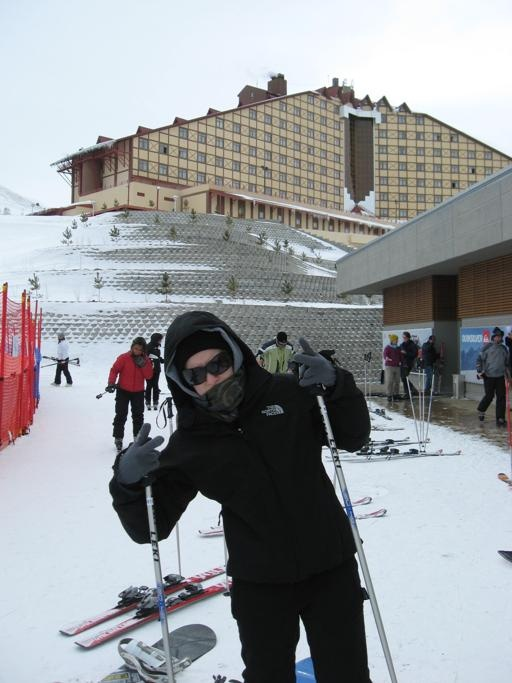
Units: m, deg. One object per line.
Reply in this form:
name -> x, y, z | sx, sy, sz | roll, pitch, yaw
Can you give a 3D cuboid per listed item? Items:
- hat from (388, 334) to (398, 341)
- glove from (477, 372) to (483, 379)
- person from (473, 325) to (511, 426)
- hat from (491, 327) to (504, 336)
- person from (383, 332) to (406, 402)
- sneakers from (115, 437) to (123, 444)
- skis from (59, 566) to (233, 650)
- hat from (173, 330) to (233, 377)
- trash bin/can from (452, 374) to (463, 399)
hat -> 3.051, -0.073, 14.449 | 0.193, 0.090, 0.251 | -20, 5, -4
glove -> 3.586, 0.543, 10.413 | 0.113, 0.106, 0.134 | 0, -8, 3
person -> 3.758, 0.578, 10.404 | 0.493, 1.567, 1.059 | 3, 5, 19
hat -> 4.137, -0.174, 11.190 | 0.229, 0.113, 0.245 | 0, -1, 6
person -> 3.086, 0.590, 14.914 | 0.420, 1.551, 1.370 | 2, 5, 12
sneakers -> -1.813, 1.294, 8.552 | 0.096, 0.117, 0.067 | -2, -10, -9
skis -> -0.635, 1.545, 3.744 | 0.181, 0.099, 0.927 | 13, 13, 40
hat -> -0.190, 0.024, 2.241 | 0.145, 0.186, 0.109 | -21, 46, -4
trash bin/can -> 4.587, 1.024, 14.830 | 0.260, 0.534, 0.365 | 2, 5, 15
